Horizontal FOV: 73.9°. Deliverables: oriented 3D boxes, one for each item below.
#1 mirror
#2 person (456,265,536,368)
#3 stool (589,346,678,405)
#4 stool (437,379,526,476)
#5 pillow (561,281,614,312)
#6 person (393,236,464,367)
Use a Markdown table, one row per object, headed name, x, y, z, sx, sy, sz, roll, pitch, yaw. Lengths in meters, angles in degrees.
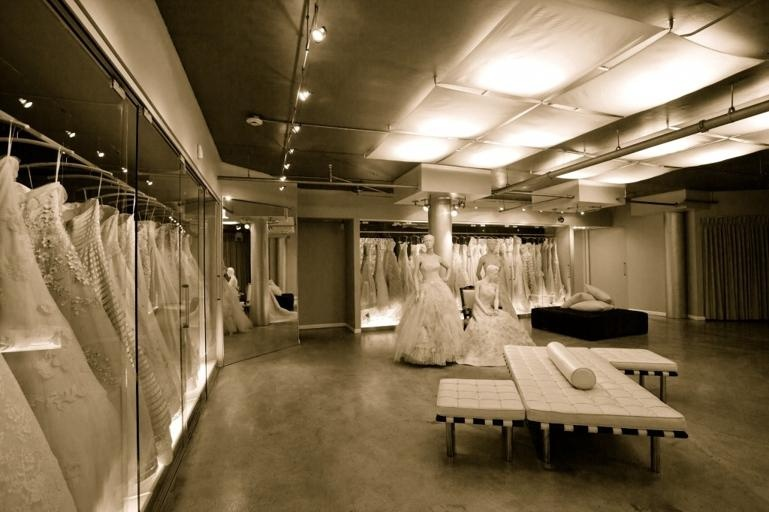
| name | x | y | z | sx | sy | sz | roll | pitch | yaw |
| --- | --- | --- | --- | --- | --- | --- | --- | --- | --- |
| mirror | -2.118 | 0.353 | 8.325 | 0.316 | 2.759 | 1.394 | -1 | 0 | 38 |
| person | 1.680 | 0.881 | 7.851 | 0.850 | 1.416 | 1.074 | -2 | 0 | 45 |
| stool | 2.981 | 1.244 | 5.967 | 0.608 | 0.438 | 0.946 | -1 | 2 | -8 |
| stool | 0.951 | 1.572 | 4.915 | 0.691 | 0.442 | 0.733 | 0 | -11 | 5 |
| pillow | 4.034 | 0.805 | 9.948 | 0.680 | 0.432 | 0.795 | -1 | -1 | -17 |
| person | 0.702 | 0.642 | 7.995 | 1.068 | 1.902 | 0.969 | -2 | 0 | 0 |
